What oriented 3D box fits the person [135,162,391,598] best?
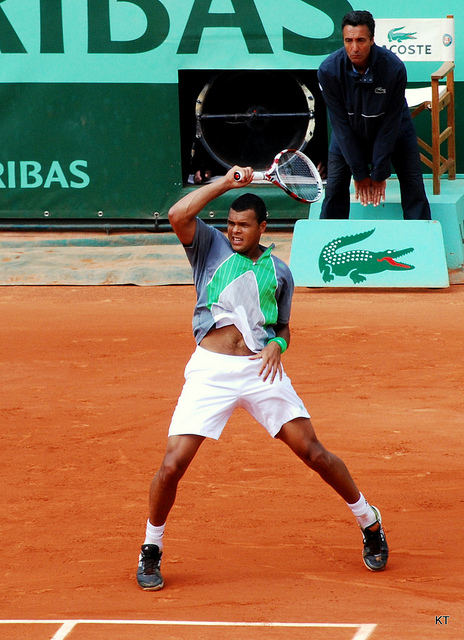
[{"bbox_3d":[0.078,0.220,3.194,1.008,1.732,0.500,-1,6,-8],"label":"person"}]

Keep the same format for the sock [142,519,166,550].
[{"bbox_3d":[-0.330,0.880,3.109,0.079,0.145,0.135,-1,5,-6],"label":"sock"}]

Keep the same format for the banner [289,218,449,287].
[{"bbox_3d":[1.595,-0.794,8.956,1.828,0.788,0.262,1,6,13],"label":"banner"}]
